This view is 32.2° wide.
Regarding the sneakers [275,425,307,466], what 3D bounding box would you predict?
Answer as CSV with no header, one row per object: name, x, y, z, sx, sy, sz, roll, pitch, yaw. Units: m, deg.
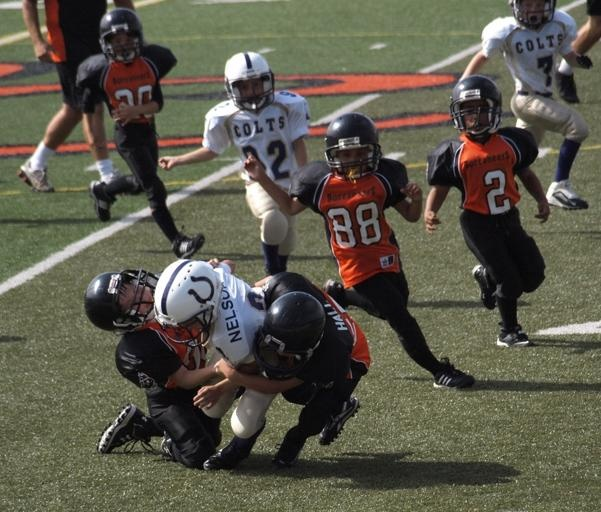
sneakers,-0.015,0.915,5.137,0.100,0.107,0.253,37,36,-5

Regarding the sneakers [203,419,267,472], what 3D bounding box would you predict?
sneakers,-0.367,0.943,5.117,0.374,0.219,0.117,2,28,-40

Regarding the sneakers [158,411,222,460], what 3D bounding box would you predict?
sneakers,-0.548,0.911,5.228,0.163,0.220,0.300,-43,59,-3

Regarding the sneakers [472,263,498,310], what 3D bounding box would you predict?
sneakers,1.075,0.189,6.374,0.124,0.283,0.131,-23,9,0

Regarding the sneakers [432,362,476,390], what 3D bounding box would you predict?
sneakers,0.815,0.660,5.670,0.248,0.132,0.114,-4,3,11

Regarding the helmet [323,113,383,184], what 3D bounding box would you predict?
helmet,0.274,-0.606,5.604,0.327,0.278,0.358,-4,30,9

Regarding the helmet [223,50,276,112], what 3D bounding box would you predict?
helmet,-0.356,-1.155,6.713,0.347,0.313,0.384,-9,39,-4

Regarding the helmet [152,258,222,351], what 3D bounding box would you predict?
helmet,-0.527,0.257,5.066,0.359,0.452,0.281,-14,24,-14

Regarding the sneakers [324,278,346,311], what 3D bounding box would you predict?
sneakers,0.206,0.230,6.350,0.110,0.208,0.077,-25,-21,5

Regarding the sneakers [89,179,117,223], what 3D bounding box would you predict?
sneakers,-1.471,-0.403,7.761,0.204,0.340,0.124,-3,24,7

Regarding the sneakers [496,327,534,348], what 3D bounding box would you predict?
sneakers,1.222,0.478,6.052,0.240,0.088,0.084,-3,-1,35

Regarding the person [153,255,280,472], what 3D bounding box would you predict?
person,-0.403,0.554,5.199,0.687,0.914,0.825,-8,12,10

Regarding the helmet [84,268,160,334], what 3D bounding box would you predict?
helmet,-0.902,0.225,5.178,0.422,0.242,0.249,-8,-15,15

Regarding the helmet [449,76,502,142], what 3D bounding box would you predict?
helmet,0.971,-0.834,5.842,0.336,0.327,0.388,3,13,10

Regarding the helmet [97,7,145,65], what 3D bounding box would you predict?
helmet,-1.236,-1.505,7.131,0.329,0.296,0.386,-5,25,-7
